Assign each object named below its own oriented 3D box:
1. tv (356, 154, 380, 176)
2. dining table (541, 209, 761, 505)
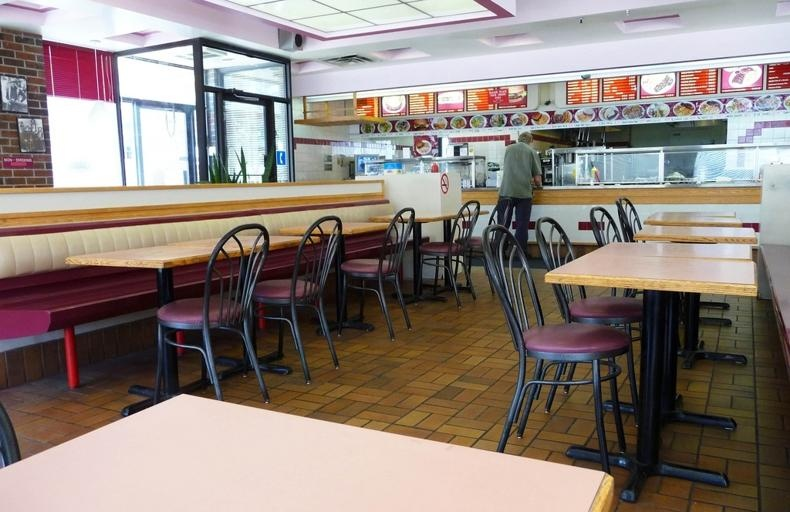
[{"bbox_3d":[-0.588,-1.942,11.592,0.423,0.368,0.676,1,12,15],"label":"tv"},{"bbox_3d":[1.415,0.567,2.973,1.061,0.948,1.819,1,7,24],"label":"dining table"}]
